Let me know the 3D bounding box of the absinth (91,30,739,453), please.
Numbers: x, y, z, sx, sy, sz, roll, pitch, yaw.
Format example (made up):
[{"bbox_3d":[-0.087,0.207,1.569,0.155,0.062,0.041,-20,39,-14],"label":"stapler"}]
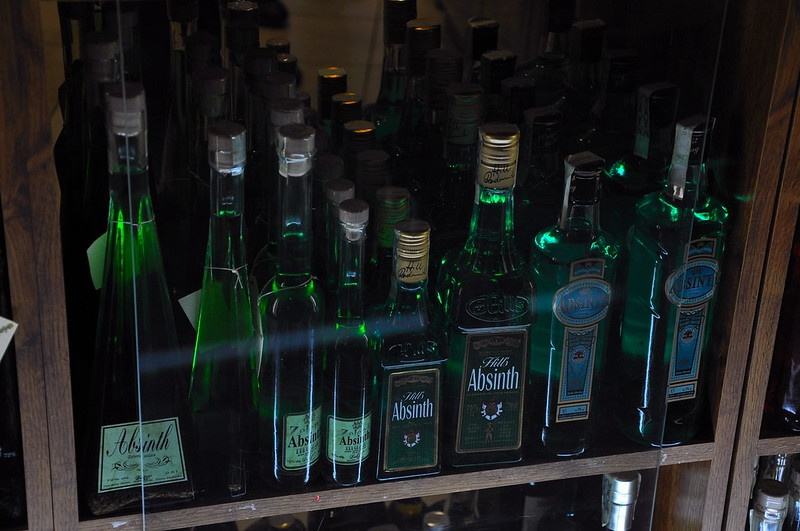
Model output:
[{"bbox_3d":[-0.010,-0.045,1.009,0.610,0.526,0.205,-1,32,-6],"label":"absinth"}]
